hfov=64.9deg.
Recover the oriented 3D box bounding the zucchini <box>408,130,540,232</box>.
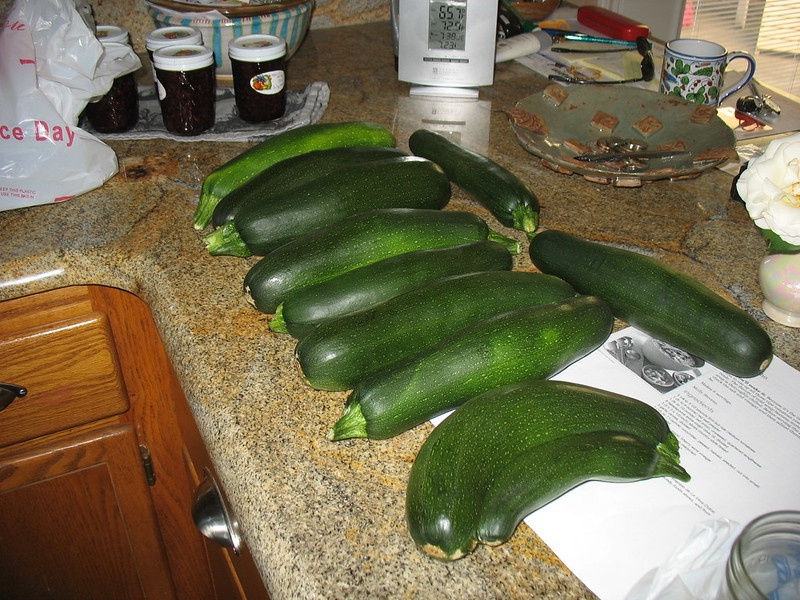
[{"bbox_3d":[0.140,-0.212,1.150,0.096,0.092,0.353,-45,51,2],"label":"zucchini"}]

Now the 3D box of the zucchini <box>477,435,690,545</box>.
[{"bbox_3d":[0.205,0.203,0.725,0.273,0.051,0.076,-13,50,-14],"label":"zucchini"}]

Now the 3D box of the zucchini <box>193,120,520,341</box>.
[{"bbox_3d":[-0.089,-0.135,0.984,0.351,0.098,0.320,-20,36,-22],"label":"zucchini"}]

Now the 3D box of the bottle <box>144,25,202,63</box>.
[{"bbox_3d":[-0.469,-0.550,1.325,0.107,0.039,0.104,0,39,0],"label":"bottle"}]

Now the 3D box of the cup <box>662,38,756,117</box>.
[{"bbox_3d":[0.722,-0.524,1.460,0.192,0.129,0.120,16,44,24],"label":"cup"}]

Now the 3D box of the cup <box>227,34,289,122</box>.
[{"bbox_3d":[-0.296,-0.486,1.402,0.142,0.152,0.141,1,30,0],"label":"cup"}]

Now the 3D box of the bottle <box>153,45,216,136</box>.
[{"bbox_3d":[-0.459,-0.451,1.349,0.140,0.143,0.130,0,31,-3],"label":"bottle"}]

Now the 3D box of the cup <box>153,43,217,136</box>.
[{"bbox_3d":[-0.492,-0.459,1.341,0.181,0.184,0.163,-6,36,-20],"label":"cup"}]

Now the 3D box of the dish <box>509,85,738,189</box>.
[{"bbox_3d":[0.442,-0.348,1.277,0.429,0.087,0.384,-5,48,-7],"label":"dish"}]

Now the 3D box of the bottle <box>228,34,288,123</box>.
[{"bbox_3d":[-0.300,-0.487,1.400,0.138,0.151,0.140,-15,34,-24],"label":"bottle"}]

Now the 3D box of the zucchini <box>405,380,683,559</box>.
[{"bbox_3d":[0.154,0.185,0.760,0.368,0.098,0.185,-15,46,-25],"label":"zucchini"}]

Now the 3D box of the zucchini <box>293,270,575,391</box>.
[{"bbox_3d":[0.058,0.043,0.879,0.421,0.125,0.122,-12,36,-14],"label":"zucchini"}]
